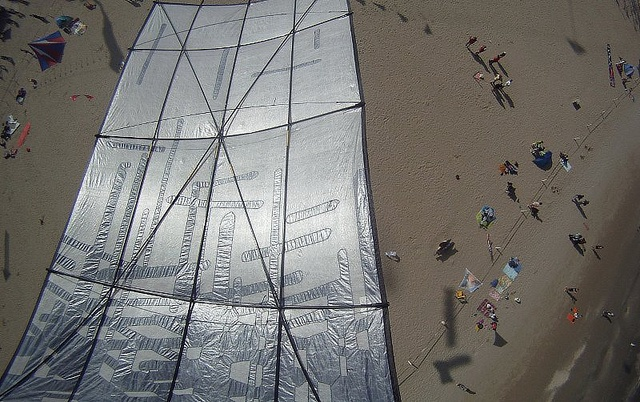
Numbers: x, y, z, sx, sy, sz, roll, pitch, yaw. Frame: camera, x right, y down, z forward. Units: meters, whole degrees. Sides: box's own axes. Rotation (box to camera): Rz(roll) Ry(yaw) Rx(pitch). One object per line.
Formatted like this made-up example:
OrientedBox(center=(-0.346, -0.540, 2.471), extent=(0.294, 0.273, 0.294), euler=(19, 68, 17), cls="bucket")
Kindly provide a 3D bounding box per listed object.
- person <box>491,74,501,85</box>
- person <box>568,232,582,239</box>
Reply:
OrientedBox(center=(15.091, -10.329, 46.638), extent=(0.459, 0.501, 1.031), euler=(27, -76, 23), cls="person")
OrientedBox(center=(20.454, 2.844, 43.712), extent=(1.115, 0.524, 0.389), euler=(-5, -67, -3), cls="person")
